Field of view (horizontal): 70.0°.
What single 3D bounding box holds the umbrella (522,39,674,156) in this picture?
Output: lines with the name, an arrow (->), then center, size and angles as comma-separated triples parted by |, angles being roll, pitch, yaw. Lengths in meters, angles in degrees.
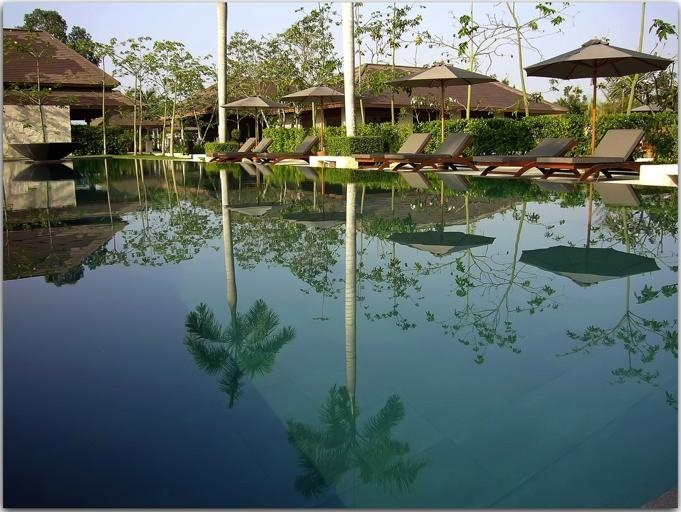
umbrella -> 5.767, -3.619, 11.079 | 2.381, 2.433, 2.291 | -3, 14, -8
